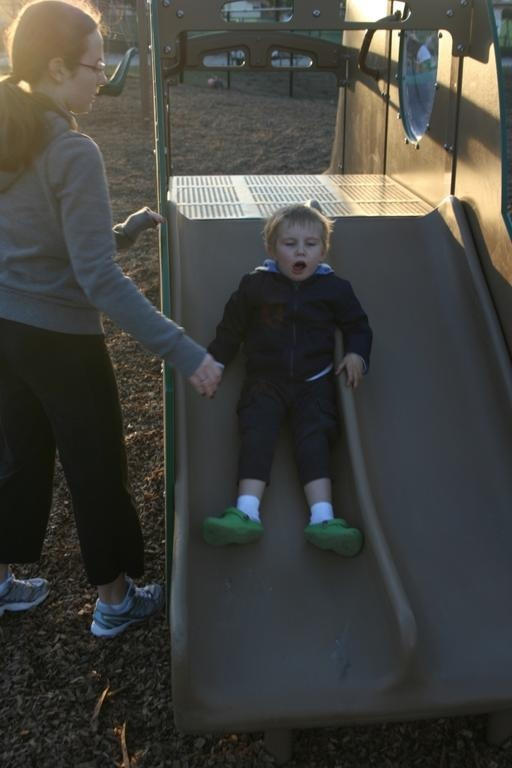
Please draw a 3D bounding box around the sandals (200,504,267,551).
[{"bbox_3d":[-0.060,0.342,1.287,0.127,0.079,0.077,5,62,-30],"label":"sandals"}]

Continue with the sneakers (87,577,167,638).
[{"bbox_3d":[-0.371,0.656,1.560,0.248,0.094,0.107,-14,34,-21],"label":"sneakers"}]

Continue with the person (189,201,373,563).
[{"bbox_3d":[0.111,-0.018,1.571,0.407,0.426,1.081,1,62,6],"label":"person"}]

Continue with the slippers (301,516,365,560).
[{"bbox_3d":[0.185,0.374,1.274,0.135,0.092,0.047,0,13,4],"label":"slippers"}]
